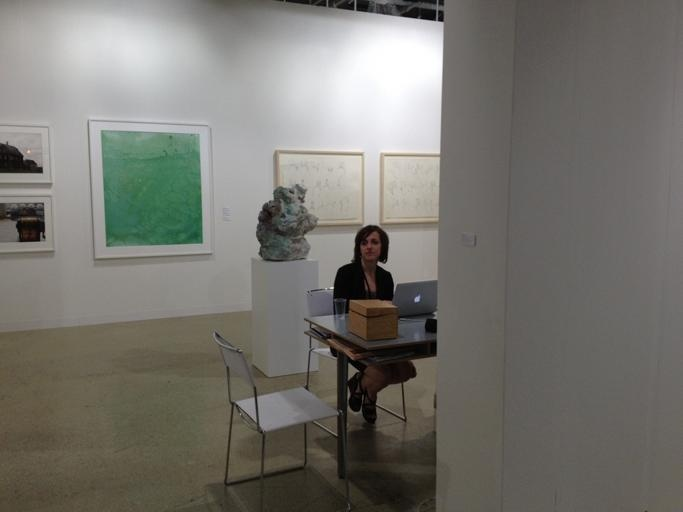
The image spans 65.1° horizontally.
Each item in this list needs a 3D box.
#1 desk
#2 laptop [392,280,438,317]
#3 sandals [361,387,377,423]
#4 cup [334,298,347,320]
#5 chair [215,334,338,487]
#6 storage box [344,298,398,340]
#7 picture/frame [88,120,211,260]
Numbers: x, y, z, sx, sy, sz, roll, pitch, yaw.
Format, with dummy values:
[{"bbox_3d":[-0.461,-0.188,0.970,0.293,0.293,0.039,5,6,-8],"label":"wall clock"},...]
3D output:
[{"bbox_3d":[0.124,0.793,3.192,0.759,0.731,0.792,-1,4,-23],"label":"desk"},{"bbox_3d":[0.468,0.266,3.533,0.327,0.252,0.238,-2,7,-21],"label":"laptop"},{"bbox_3d":[0.184,1.013,3.686,0.078,0.240,0.066,-6,0,-28],"label":"sandals"},{"bbox_3d":[-0.010,0.334,3.498,0.103,0.127,0.111,0,-3,0],"label":"cup"},{"bbox_3d":[-0.424,1.025,3.517,0.650,0.979,0.523,-8,17,-27],"label":"chair"},{"bbox_3d":[0.174,0.358,3.080,0.278,0.178,0.285,6,7,40],"label":"storage box"},{"bbox_3d":[-2.349,-0.828,6.367,1.500,1.865,0.066,-2,2,-31],"label":"picture/frame"}]
